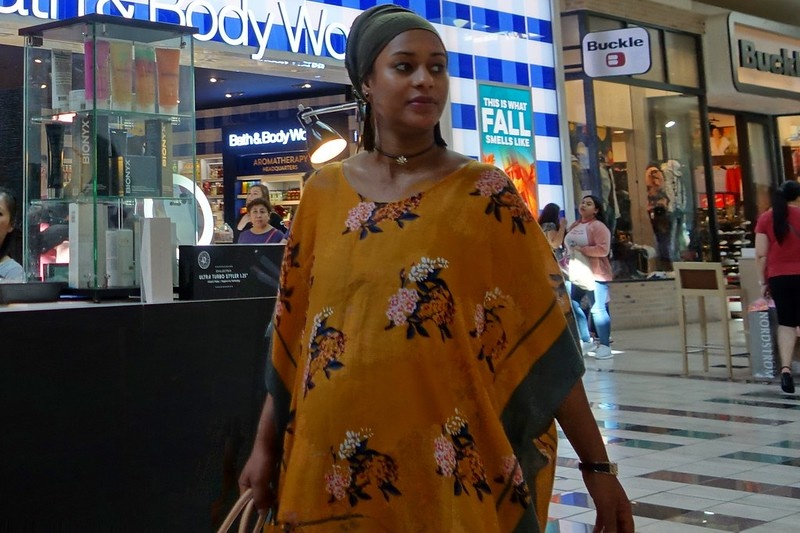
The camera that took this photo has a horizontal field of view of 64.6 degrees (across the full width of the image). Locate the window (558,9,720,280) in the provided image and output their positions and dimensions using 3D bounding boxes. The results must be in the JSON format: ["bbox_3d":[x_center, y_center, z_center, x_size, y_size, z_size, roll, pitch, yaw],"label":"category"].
[{"bbox_3d":[3.918,-2.111,10.557,4.584,6.092,0.251,-6,4,-36],"label":"window"}]

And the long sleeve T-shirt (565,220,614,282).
[{"bbox_3d":[2.217,-0.198,7.511,0.525,0.777,0.656,0,3,-25],"label":"long sleeve T-shirt"}]

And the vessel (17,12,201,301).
[{"bbox_3d":[-1.187,-0.484,3.133,0.622,1.099,0.600,2,11,9],"label":"vessel"}]

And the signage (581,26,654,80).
[{"bbox_3d":[3.305,-3.302,9.732,1.131,0.823,0.148,-1,-8,18],"label":"signage"}]
